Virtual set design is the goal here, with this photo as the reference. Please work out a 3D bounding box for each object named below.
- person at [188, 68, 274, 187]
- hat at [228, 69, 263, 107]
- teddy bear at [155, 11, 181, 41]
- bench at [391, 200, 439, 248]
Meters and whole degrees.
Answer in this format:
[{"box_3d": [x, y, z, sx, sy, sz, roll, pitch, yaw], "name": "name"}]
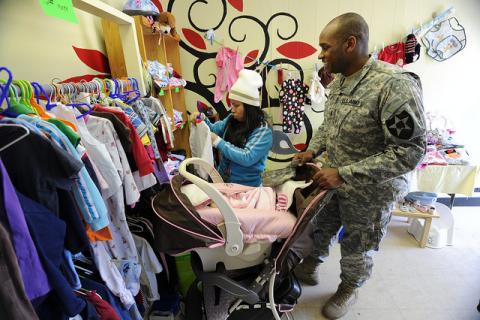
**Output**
[{"box_3d": [-0.034, -0.148, 3.106, 0.695, 1.250, 0.627, 22, 28, 40], "name": "person"}, {"box_3d": [0.061, -0.634, 2.971, 0.358, 0.312, 0.259, 9, 5, 29], "name": "hat"}, {"box_3d": [-0.788, -1.496, 3.683, 0.205, 0.236, 0.302, 8, 21, 17], "name": "teddy bear"}, {"box_3d": [1.890, 0.656, 3.643, 0.441, 0.336, 0.446, -3, 24, -7], "name": "bench"}]
